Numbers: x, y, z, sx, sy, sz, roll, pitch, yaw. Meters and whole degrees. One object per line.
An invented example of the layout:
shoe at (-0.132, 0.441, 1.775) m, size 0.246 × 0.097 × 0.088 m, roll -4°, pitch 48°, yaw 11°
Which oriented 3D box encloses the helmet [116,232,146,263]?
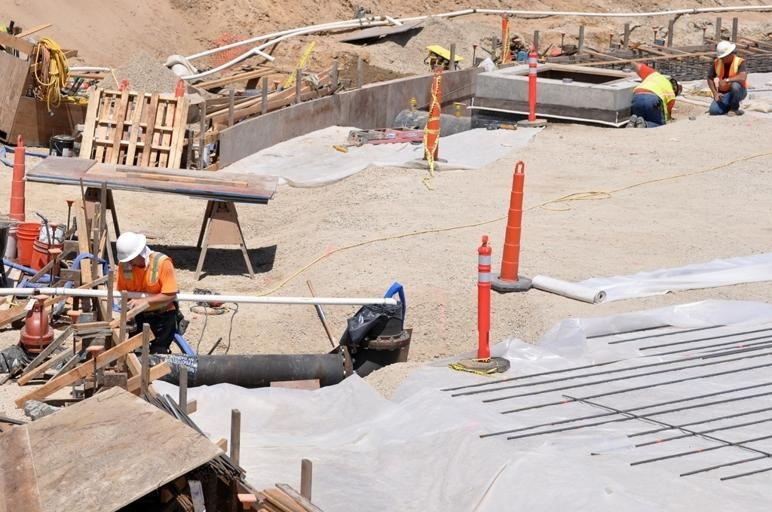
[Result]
helmet at (-3.180, -0.103, 13.216) m, size 0.349 × 0.366 × 0.194 m, roll -4°, pitch 5°, yaw -12°

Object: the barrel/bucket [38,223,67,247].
barrel/bucket at (-4.739, -0.328, 15.124) m, size 0.438 × 0.348 × 0.240 m, roll 5°, pitch 7°, yaw -8°

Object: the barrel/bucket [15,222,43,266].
barrel/bucket at (-5.156, -0.116, 15.548) m, size 0.494 × 0.448 × 0.453 m, roll 7°, pitch 1°, yaw 0°

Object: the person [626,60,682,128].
person at (5.978, -3.564, 23.296) m, size 1.221 × 0.660 × 1.862 m, roll 33°, pitch 34°, yaw 26°

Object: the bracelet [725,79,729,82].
bracelet at (7.360, -3.795, 22.936) m, size 0.099 × 0.079 × 0.021 m, roll -2°, pitch -10°, yaw 10°

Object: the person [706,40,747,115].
person at (7.434, -3.886, 23.163) m, size 0.813 × 1.647 × 0.931 m, roll -2°, pitch 5°, yaw 15°

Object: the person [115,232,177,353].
person at (-3.018, 0.483, 13.344) m, size 0.735 × 1.552 × 0.655 m, roll -5°, pitch 5°, yaw -13°

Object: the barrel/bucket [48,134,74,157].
barrel/bucket at (-6.591, -2.220, 21.593) m, size 0.619 × 0.482 × 0.537 m, roll 3°, pitch 5°, yaw 1°
